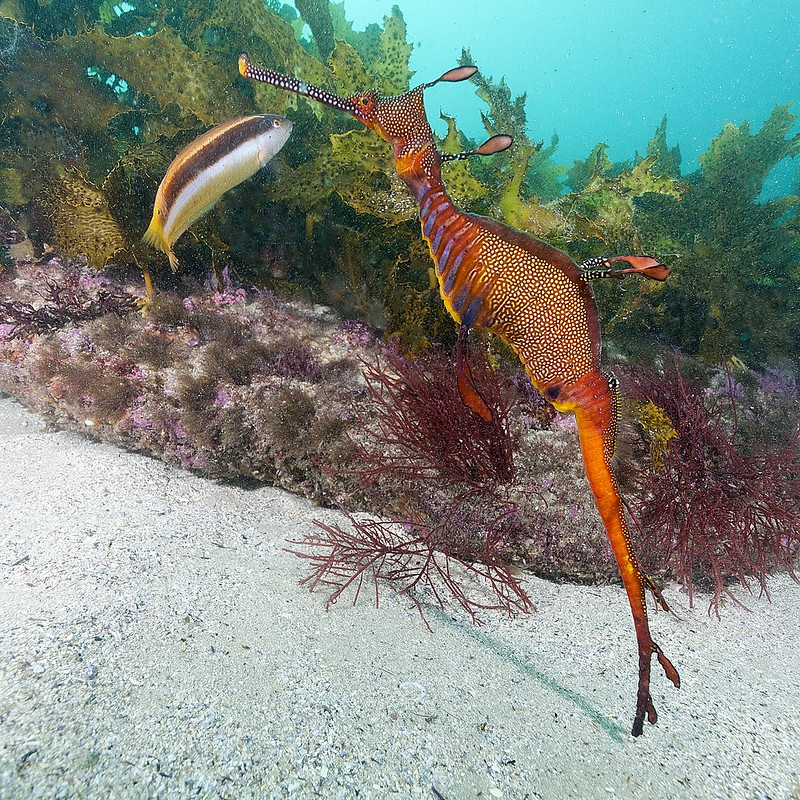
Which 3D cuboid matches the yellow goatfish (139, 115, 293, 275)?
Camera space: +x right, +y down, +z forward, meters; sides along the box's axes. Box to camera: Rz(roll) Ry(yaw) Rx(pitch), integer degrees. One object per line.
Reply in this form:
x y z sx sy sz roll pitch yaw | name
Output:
-0.894 -1.086 3.667 0.985 0.424 0.323 -44 49 -9 | yellow goatfish

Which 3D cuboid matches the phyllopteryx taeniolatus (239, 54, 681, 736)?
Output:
0.371 -0.336 2.885 2.862 0.986 0.735 53 12 7 | phyllopteryx taeniolatus
